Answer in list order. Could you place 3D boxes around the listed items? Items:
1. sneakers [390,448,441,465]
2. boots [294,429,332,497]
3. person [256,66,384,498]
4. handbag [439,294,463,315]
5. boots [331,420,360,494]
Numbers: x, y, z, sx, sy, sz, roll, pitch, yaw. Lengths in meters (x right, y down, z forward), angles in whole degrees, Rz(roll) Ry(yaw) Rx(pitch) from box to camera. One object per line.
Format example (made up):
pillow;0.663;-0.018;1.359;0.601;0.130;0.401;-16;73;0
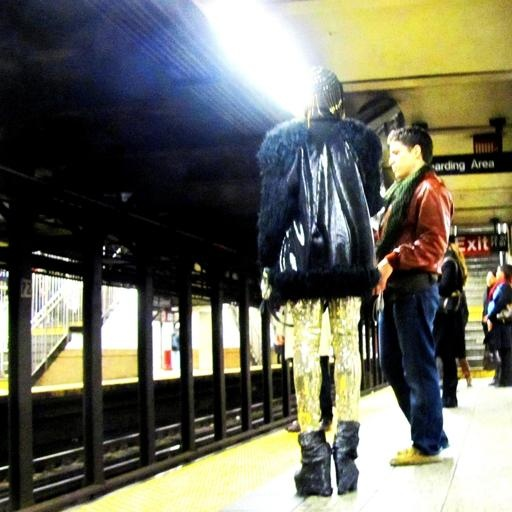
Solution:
sneakers;0.740;0.909;2.214;0.212;0.118;0.099;2;-18;5
boots;0.198;0.729;1.655;0.135;0.220;0.126;-3;-5;8
person;0.282;0.024;1.872;0.544;1.647;0.451;-2;-5;-1
handbag;2.299;0.575;5.578;0.226;0.274;0.202;1;-3;13
boots;0.325;0.729;1.703;0.098;0.244;0.231;-3;-5;11
